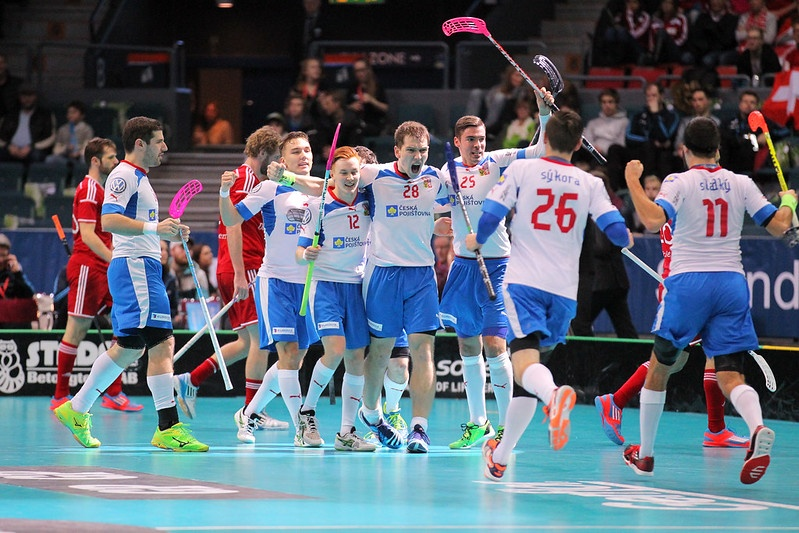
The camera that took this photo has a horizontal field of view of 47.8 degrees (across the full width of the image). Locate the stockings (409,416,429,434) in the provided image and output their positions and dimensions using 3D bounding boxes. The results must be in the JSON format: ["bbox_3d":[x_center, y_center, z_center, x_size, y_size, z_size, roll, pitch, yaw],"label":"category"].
[{"bbox_3d":[0.178,1.444,8.191,0.122,0.170,0.175,-1,5,2],"label":"stockings"}]

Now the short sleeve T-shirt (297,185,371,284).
[{"bbox_3d":[-0.566,-0.288,8.052,0.741,0.815,0.409,8,5,-33],"label":"short sleeve T-shirt"}]

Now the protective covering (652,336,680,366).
[{"bbox_3d":[2.131,0.678,7.208,0.176,0.146,0.242,21,13,-9],"label":"protective covering"}]

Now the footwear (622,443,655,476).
[{"bbox_3d":[1.931,1.575,7.318,0.143,0.158,0.336,1,11,-8],"label":"footwear"}]

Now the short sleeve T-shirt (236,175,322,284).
[{"bbox_3d":[-1.118,-0.357,8.416,0.310,0.867,0.984,-3,-8,45],"label":"short sleeve T-shirt"}]

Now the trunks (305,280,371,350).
[{"bbox_3d":[-0.529,0.416,8.063,0.515,0.514,0.302,8,-22,-34],"label":"trunks"}]

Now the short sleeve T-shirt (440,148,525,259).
[{"bbox_3d":[0.722,-0.555,7.778,0.975,0.784,0.317,-4,-2,1],"label":"short sleeve T-shirt"}]

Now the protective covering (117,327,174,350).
[{"bbox_3d":[-2.304,0.640,8.068,0.268,0.200,0.376,-1,-3,45],"label":"protective covering"}]

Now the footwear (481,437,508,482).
[{"bbox_3d":[0.734,1.494,7.064,0.136,0.161,0.372,-1,35,-6],"label":"footwear"}]

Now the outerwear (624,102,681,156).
[{"bbox_3d":[3.985,-2.111,14.299,0.820,1.055,0.759,1,-9,19],"label":"outerwear"}]

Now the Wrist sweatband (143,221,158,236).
[{"bbox_3d":[-2.161,-0.330,7.806,0.083,0.110,0.109,9,6,-12],"label":"Wrist sweatband"}]

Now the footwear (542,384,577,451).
[{"bbox_3d":[1.151,1.064,6.465,0.175,0.481,0.212,-6,6,-37],"label":"footwear"}]

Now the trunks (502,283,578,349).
[{"bbox_3d":[1.091,0.384,6.915,0.560,0.390,0.227,1,0,-23],"label":"trunks"}]

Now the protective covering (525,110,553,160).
[{"bbox_3d":[1.265,-1.202,8.212,0.299,0.423,0.163,2,5,-10],"label":"protective covering"}]

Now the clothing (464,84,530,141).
[{"bbox_3d":[2.134,-2.754,16.201,1.425,0.986,1.683,0,12,-9],"label":"clothing"}]

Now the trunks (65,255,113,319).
[{"bbox_3d":[-3.387,0.216,9.821,0.412,0.675,0.682,-4,4,-40],"label":"trunks"}]

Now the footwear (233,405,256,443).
[{"bbox_3d":[-1.495,1.563,8.723,0.140,0.175,0.410,36,16,-37],"label":"footwear"}]

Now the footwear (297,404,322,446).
[{"bbox_3d":[-0.830,1.510,8.317,0.152,0.191,0.408,2,9,-21],"label":"footwear"}]

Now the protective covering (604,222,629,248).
[{"bbox_3d":[1.678,-0.246,6.912,0.225,0.161,0.176,0,0,-25],"label":"protective covering"}]

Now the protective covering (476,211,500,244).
[{"bbox_3d":[0.661,-0.297,6.888,0.098,0.333,0.096,35,-29,-19],"label":"protective covering"}]

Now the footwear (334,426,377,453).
[{"bbox_3d":[-0.430,1.594,8.221,0.430,0.218,0.166,2,-2,8],"label":"footwear"}]

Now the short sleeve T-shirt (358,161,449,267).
[{"bbox_3d":[0.000,-0.480,8.030,0.915,0.897,0.480,3,2,-18],"label":"short sleeve T-shirt"}]

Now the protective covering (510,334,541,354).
[{"bbox_3d":[0.953,0.603,6.821,0.181,0.148,0.150,3,-13,-15],"label":"protective covering"}]

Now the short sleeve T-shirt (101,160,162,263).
[{"bbox_3d":[-2.437,-0.489,8.110,0.434,0.957,1.047,-4,-3,-5],"label":"short sleeve T-shirt"}]

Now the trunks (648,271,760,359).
[{"bbox_3d":[2.506,0.422,7.429,0.905,0.817,0.385,4,16,12],"label":"trunks"}]

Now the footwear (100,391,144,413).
[{"bbox_3d":[-3.220,1.589,10.505,0.482,0.215,0.194,4,-3,4],"label":"footwear"}]

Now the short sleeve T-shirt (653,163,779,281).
[{"bbox_3d":[2.867,-0.344,8.151,1.607,1.176,0.602,1,3,8],"label":"short sleeve T-shirt"}]

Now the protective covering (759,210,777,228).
[{"bbox_3d":[2.928,-0.401,7.249,0.104,0.136,0.133,40,-12,-3],"label":"protective covering"}]

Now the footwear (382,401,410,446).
[{"bbox_3d":[-0.003,1.579,8.668,0.151,0.197,0.448,-8,31,-18],"label":"footwear"}]

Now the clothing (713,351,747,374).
[{"bbox_3d":[2.645,0.773,7.240,0.222,0.166,0.384,1,0,18],"label":"clothing"}]

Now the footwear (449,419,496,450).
[{"bbox_3d":[0.663,1.611,8.496,0.458,0.207,0.191,-27,9,-21],"label":"footwear"}]

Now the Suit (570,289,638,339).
[{"bbox_3d":[2.552,0.582,11.190,0.773,0.764,0.303,0,4,-6],"label":"Suit"}]

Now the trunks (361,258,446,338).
[{"bbox_3d":[-0.003,0.320,8.267,0.884,0.868,0.556,-1,-3,-6],"label":"trunks"}]

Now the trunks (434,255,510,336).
[{"bbox_3d":[0.677,0.277,8.168,0.789,0.775,0.461,8,7,23],"label":"trunks"}]

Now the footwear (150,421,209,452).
[{"bbox_3d":[-1.987,1.550,8.198,0.554,0.279,0.221,5,-7,7],"label":"footwear"}]
